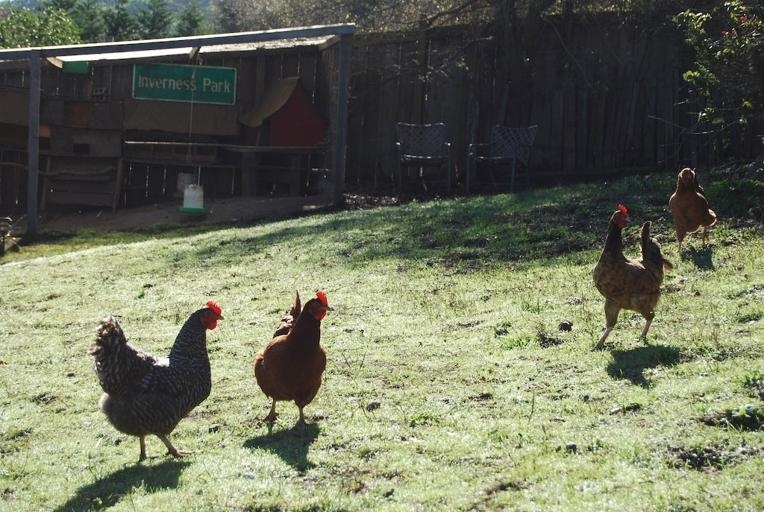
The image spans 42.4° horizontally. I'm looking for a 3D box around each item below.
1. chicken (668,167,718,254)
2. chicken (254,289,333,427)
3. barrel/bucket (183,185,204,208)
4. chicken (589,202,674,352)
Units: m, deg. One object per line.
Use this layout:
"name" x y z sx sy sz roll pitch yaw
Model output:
"chicken" 5.150 -0.758 16.456 0.709 1.361 0.483 -3 5 -23
"chicken" -1.253 1.471 14.076 1.030 1.885 0.387 -1 4 -4
"barrel/bucket" -4.150 -1.295 21.798 0.402 0.716 0.217 1 10 -4
"chicken" 3.628 0.356 14.535 0.983 2.038 0.456 1 5 12
